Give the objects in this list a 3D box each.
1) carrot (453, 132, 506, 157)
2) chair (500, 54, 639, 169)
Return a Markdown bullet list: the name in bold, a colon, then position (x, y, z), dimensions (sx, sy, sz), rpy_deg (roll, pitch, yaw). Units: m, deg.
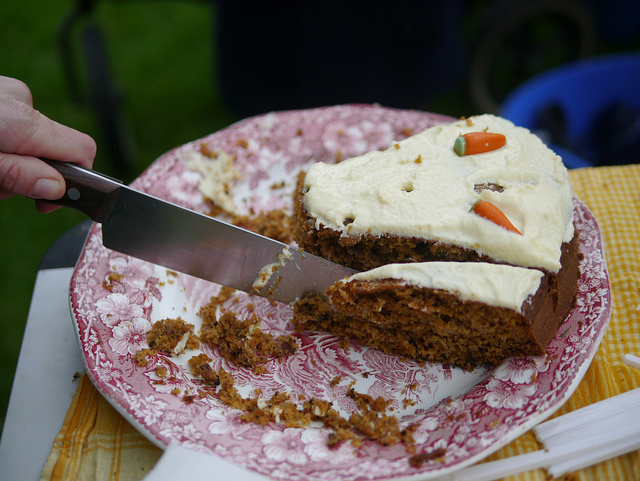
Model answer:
- **carrot**: position (1.015, -0.632, 4.799), dimensions (0.285, 0.134, 0.166), rpy_deg (-5, 101, 0)
- **chair**: position (1.876, -0.930, 6.347), dimensions (0.929, 1.096, 1.315), rpy_deg (18, 30, 40)
